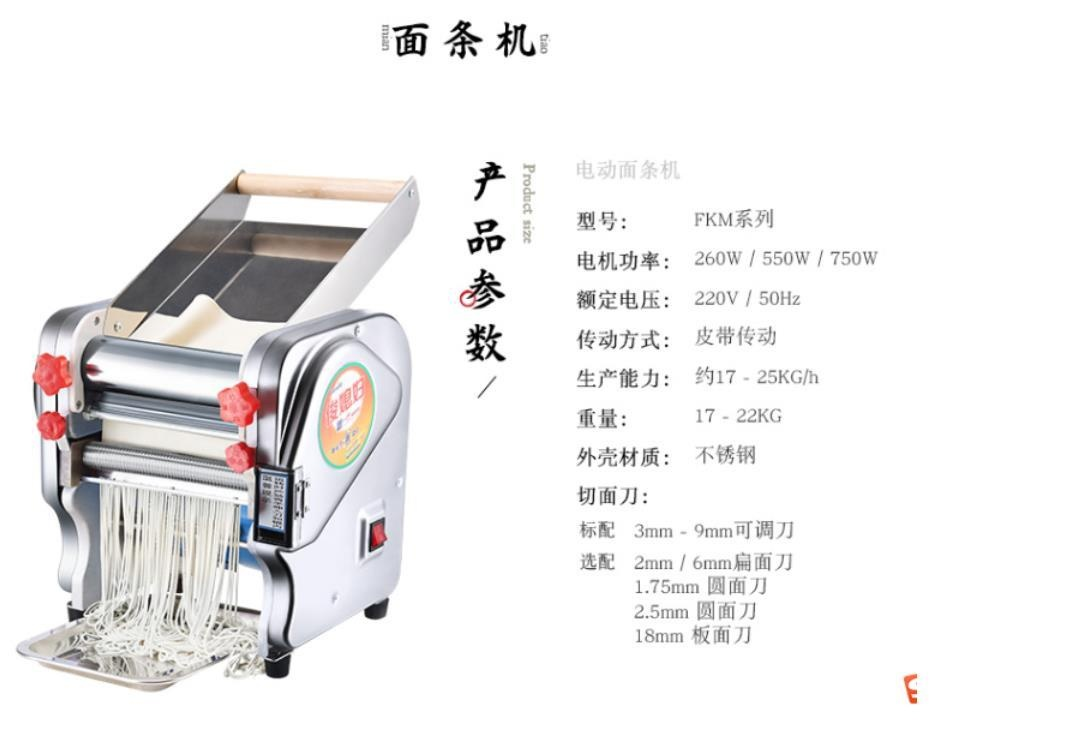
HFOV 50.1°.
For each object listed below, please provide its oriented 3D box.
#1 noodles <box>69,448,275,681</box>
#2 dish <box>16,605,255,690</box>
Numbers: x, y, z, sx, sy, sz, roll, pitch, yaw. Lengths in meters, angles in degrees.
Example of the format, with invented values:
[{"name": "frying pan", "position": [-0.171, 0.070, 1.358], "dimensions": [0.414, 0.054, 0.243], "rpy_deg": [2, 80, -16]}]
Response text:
[{"name": "noodles", "position": [-1.161, 0.634, 3.740], "dimensions": [0.656, 0.577, 0.508], "rpy_deg": [15, -20, -18]}, {"name": "dish", "position": [-1.363, 0.808, 3.867], "dimensions": [0.540, 0.661, 0.065], "rpy_deg": [-1, -63, 2]}]
